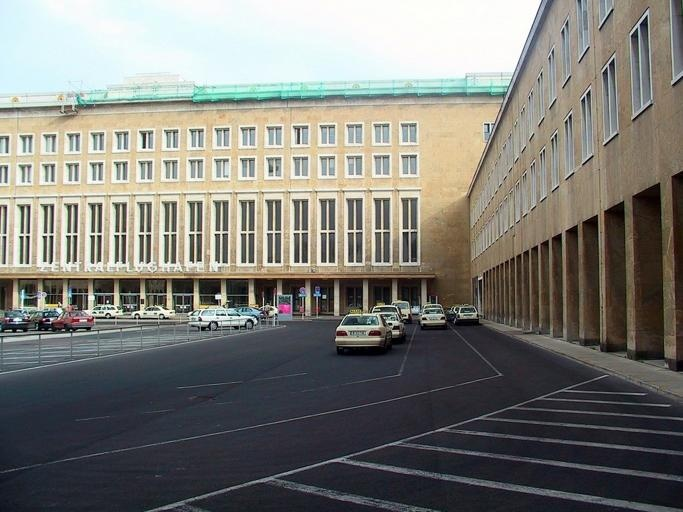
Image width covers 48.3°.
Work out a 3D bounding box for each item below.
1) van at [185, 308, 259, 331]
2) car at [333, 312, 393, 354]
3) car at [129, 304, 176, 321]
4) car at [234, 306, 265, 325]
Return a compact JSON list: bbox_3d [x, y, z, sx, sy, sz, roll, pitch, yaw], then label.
[{"bbox_3d":[-7.857,4.307,50.791,3.915,1.336,1.728,-2,0,-26],"label":"van"},{"bbox_3d":[0.744,2.939,28.798,1.901,1.452,1.147,0,-1,-4],"label":"car"},{"bbox_3d":[-18.479,5.569,75.052,4.193,1.094,1.889,-1,-1,20],"label":"car"},{"bbox_3d":[-7.812,4.926,62.056,2.824,1.186,1.407,6,-5,0],"label":"car"}]
